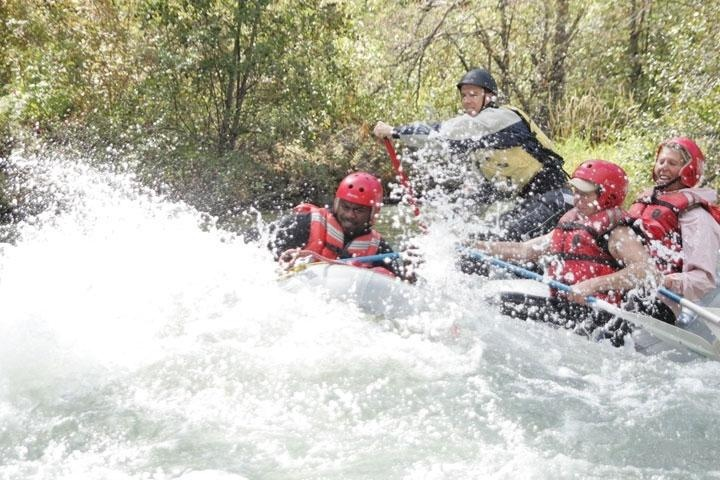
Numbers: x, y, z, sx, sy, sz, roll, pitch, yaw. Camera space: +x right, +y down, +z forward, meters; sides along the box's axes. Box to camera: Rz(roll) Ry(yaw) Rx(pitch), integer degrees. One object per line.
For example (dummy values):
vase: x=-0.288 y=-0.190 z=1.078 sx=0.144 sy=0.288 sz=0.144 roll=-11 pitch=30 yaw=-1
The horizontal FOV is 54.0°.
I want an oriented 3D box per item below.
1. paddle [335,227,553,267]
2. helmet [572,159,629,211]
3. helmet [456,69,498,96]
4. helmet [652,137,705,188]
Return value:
paddle: x=1.016 y=0.089 z=8.042 sx=1.542 sy=0.177 sz=0.253 roll=-6 pitch=35 yaw=2
helmet: x=2.564 y=-0.599 z=7.423 sx=0.622 sy=0.474 sz=0.488 roll=6 pitch=15 yaw=16
helmet: x=1.378 y=-1.844 z=8.302 sx=0.451 sy=0.295 sz=0.273 roll=-2 pitch=10 yaw=5
helmet: x=3.586 y=-0.808 z=7.718 sx=0.508 sy=0.477 sz=0.408 roll=8 pitch=1 yaw=-8
